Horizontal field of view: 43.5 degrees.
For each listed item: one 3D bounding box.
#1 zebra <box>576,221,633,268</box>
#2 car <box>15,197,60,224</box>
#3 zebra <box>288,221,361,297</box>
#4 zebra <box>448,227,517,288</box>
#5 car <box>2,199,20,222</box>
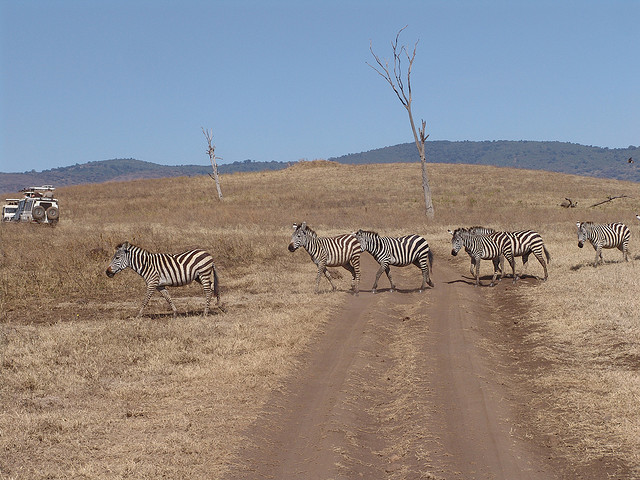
[{"bbox_3d":[10.330,0.103,29.171,2.201,1.589,0.663,-6,12,-26],"label":"zebra"},{"bbox_3d":[-14.946,-1.605,42.405,1.240,1.277,2.196,-1,9,-30],"label":"car"},{"bbox_3d":[0.200,0.664,27.336,2.619,2.620,0.962,0,12,-14],"label":"zebra"},{"bbox_3d":[5.784,0.590,28.073,2.306,2.046,0.718,-1,8,-5],"label":"zebra"},{"bbox_3d":[-16.910,-1.657,44.354,0.819,1.339,2.446,0,3,-20],"label":"car"}]
